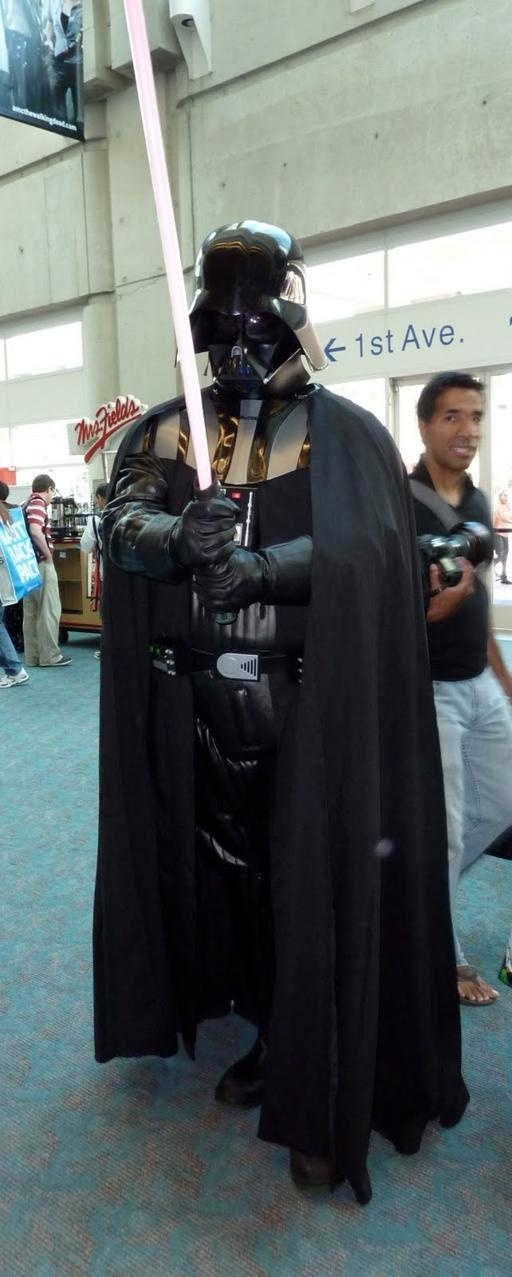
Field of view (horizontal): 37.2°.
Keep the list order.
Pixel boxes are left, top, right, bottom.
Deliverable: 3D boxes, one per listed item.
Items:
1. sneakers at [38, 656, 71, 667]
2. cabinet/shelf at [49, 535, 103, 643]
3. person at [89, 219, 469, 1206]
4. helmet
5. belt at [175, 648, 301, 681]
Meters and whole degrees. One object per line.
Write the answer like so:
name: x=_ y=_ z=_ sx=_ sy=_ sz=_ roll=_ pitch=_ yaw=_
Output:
sneakers: x=-1.704 y=0.212 z=6.485 sx=0.252 sy=0.153 sz=0.109 roll=-2 pitch=3 yaw=-13
cabinet/shelf: x=-1.693 y=-0.478 z=7.476 sx=0.430 sy=0.981 sz=0.512 roll=-4 pitch=1 yaw=29
person: x=0.046 y=0.115 z=1.406 sx=0.665 sy=1.619 sz=0.695 roll=-3 pitch=5 yaw=-29
helmet: x=0.002 y=-0.535 z=1.260 sx=0.188 sy=0.276 sz=0.233 roll=6 pitch=22 yaw=18
belt: x=-0.038 y=0.044 z=1.257 sx=0.222 sy=0.060 sz=0.081 roll=1 pitch=6 yaw=22
